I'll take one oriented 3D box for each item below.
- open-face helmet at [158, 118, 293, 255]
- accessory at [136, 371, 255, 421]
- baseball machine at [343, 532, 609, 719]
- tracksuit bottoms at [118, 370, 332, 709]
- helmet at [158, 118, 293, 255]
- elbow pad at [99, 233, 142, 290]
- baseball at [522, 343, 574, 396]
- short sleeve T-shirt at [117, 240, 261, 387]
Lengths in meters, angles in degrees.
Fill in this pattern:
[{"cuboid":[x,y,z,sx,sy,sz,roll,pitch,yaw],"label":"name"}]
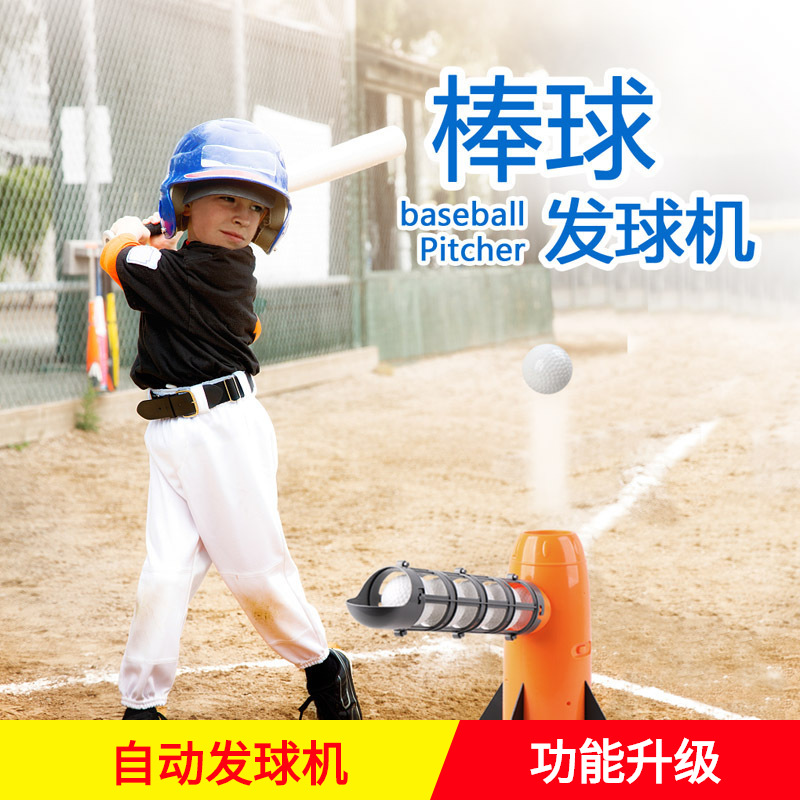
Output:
[{"cuboid":[-0.533,-0.621,3.933,0.327,0.326,0.407,6,-7,-15],"label":"open-face helmet"},{"cuboid":[-0.594,-0.003,3.782,0.204,0.060,0.168,-21,-2,-10],"label":"accessory"},{"cuboid":[0.140,0.660,3.804,0.753,0.572,0.447,8,-9,-35],"label":"baseball machine"},{"cuboid":[-0.524,0.397,3.810,0.624,0.929,0.295,-3,12,-13],"label":"tracksuit bottoms"},{"cuboid":[-0.511,-0.641,3.884,0.402,0.368,0.443,7,-1,24],"label":"helmet"},{"cuboid":[-0.823,-0.415,3.811,0.066,0.153,0.114,-3,-33,-5],"label":"elbow pad"},{"cuboid":[0.530,-0.111,4.653,0.165,0.205,0.199,1,12,5],"label":"baseball"},{"cuboid":[-0.627,-0.255,3.839,0.405,0.431,0.273,-1,12,-7],"label":"short sleeve T-shirt"}]
